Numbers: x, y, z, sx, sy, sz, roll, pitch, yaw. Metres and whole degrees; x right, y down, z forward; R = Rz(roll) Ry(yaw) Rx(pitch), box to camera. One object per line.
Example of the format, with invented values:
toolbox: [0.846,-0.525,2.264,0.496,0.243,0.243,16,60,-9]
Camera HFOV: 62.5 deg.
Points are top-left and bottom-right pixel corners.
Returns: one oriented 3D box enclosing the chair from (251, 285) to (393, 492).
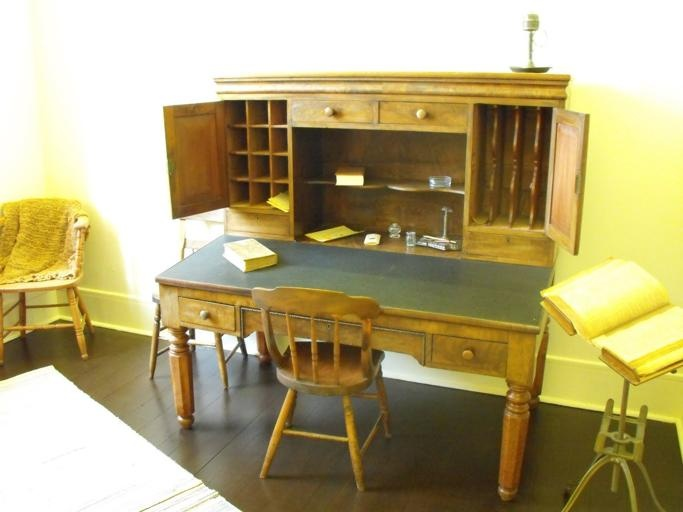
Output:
chair: [-0.096,0.616,2.896,0.691,1.100,0.504,4,16,6]

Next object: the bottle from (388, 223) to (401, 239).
bottle: [0.325,-0.153,3.519,0.085,0.100,0.085,0,7,1]

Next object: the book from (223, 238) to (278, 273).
book: [-0.479,-0.009,3.112,0.183,0.062,0.259,-12,25,-31]

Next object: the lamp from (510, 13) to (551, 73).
lamp: [0.995,-1.123,2.963,0.203,0.283,0.196,11,26,36]

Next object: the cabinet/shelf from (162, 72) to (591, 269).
cabinet/shelf: [0.217,-0.529,3.245,2.262,0.988,0.706,6,19,21]
